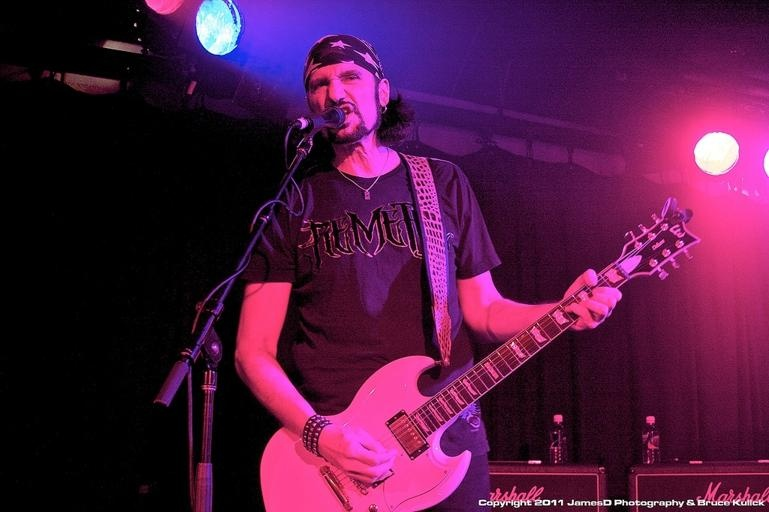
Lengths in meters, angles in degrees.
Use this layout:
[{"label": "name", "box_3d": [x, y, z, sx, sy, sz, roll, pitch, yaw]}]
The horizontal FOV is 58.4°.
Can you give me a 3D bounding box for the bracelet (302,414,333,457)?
[{"label": "bracelet", "box_3d": [-0.387, 1.030, 3.926, 0.148, 0.226, 0.096, 0, -10, 32]}]
